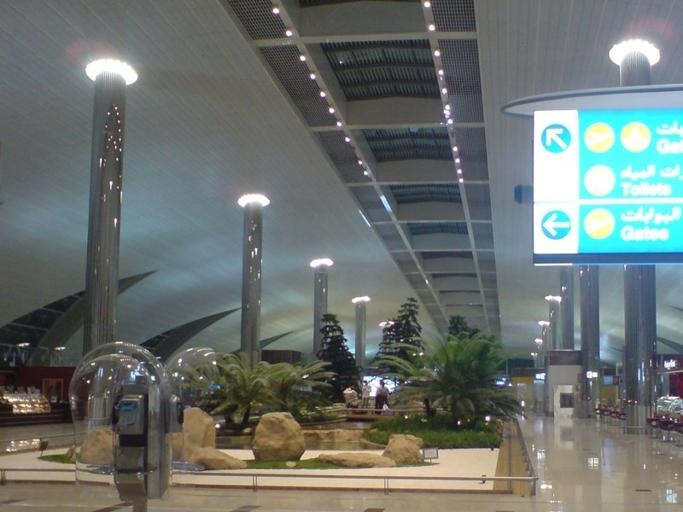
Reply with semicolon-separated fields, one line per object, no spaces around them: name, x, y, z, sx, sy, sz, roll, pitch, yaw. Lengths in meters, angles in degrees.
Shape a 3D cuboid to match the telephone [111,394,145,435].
telephone;-2.163;1.678;5.667;0.223;0.402;0.285;15;-12;4
